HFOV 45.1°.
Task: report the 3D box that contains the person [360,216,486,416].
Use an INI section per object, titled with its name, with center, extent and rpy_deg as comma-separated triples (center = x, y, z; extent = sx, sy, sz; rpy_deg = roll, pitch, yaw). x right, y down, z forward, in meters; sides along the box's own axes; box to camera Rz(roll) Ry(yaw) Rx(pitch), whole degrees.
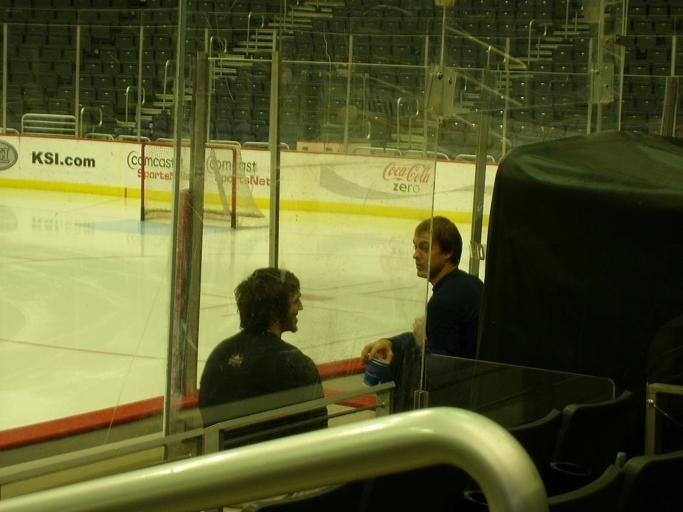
[person]
center = 0.316, 0.327, 3.020
extent = 0.452, 0.875, 0.336
rpy_deg = -1, 6, 7
